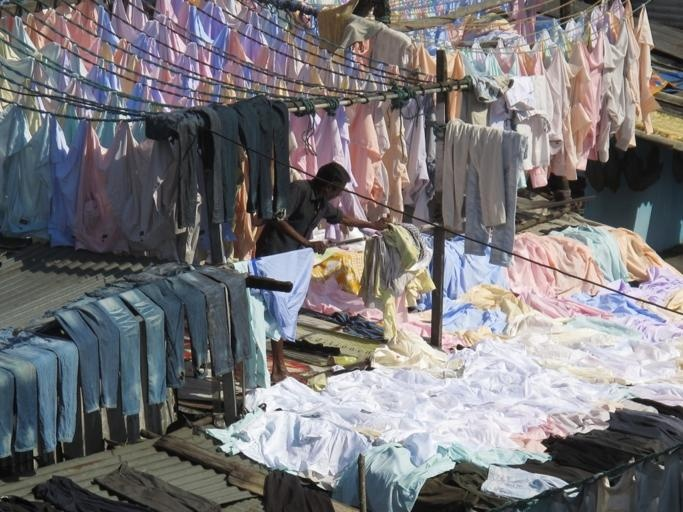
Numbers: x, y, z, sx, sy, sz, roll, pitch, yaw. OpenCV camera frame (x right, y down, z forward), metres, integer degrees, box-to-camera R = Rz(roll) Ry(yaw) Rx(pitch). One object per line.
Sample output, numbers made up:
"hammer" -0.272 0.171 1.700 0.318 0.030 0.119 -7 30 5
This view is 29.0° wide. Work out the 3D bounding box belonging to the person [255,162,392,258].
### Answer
"person" -0.301 -0.550 15.790 1.375 1.135 0.743 0 2 -32
